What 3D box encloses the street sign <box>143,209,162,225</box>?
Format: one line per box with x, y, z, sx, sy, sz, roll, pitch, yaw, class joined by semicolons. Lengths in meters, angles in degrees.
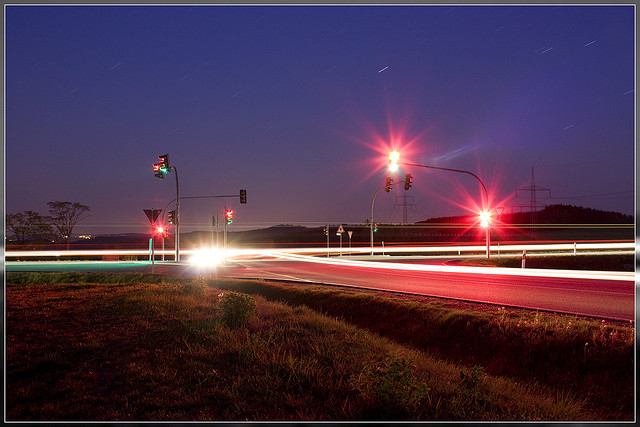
-7.154;0.129;21.316;0.774;0.869;0.047;-2;17;-12;street sign

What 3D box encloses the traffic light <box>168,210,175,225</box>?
-10.326;0.288;34.631;0.368;0.893;0.361;-1;14;-9;traffic light

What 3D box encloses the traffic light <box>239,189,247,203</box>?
-5.811;-1.261;37.771;0.367;0.820;0.859;-3;15;-18;traffic light

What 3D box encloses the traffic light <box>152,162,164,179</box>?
-8.446;-2.215;25.922;0.378;0.931;1.577;-3;15;-16;traffic light

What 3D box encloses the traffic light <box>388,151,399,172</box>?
4.243;-3.014;28.560;0.477;1.138;1.132;3;14;6;traffic light
